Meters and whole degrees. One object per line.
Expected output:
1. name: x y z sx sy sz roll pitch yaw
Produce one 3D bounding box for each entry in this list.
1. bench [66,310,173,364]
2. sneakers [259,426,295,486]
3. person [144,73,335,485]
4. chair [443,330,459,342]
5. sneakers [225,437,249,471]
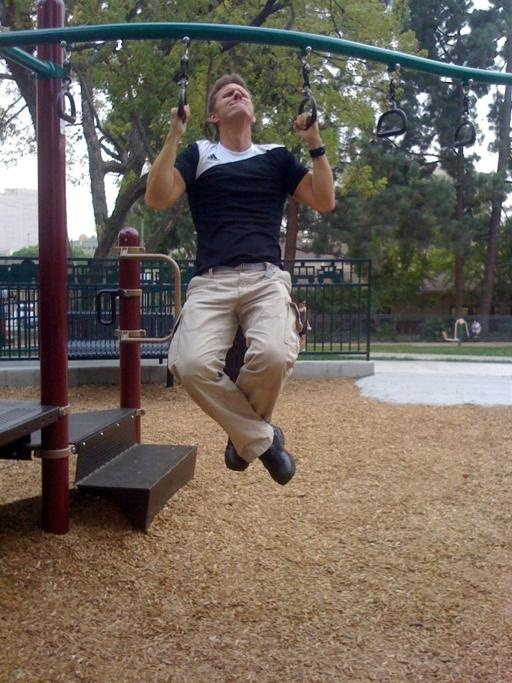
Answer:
1. bench: -1.598 -0.003 8.835 1.291 0.602 0.477 -1 6 0
2. sneakers: 0.078 0.465 3.434 0.124 0.297 0.105 4 -37 -28
3. person: -0.120 -0.334 3.359 0.647 1.658 0.697 1 5 11
4. chair: 7.143 -0.108 28.850 0.592 0.382 0.402 -1 -1 31
5. sneakers: -0.096 0.516 3.503 0.090 0.155 0.154 0 -21 -3
